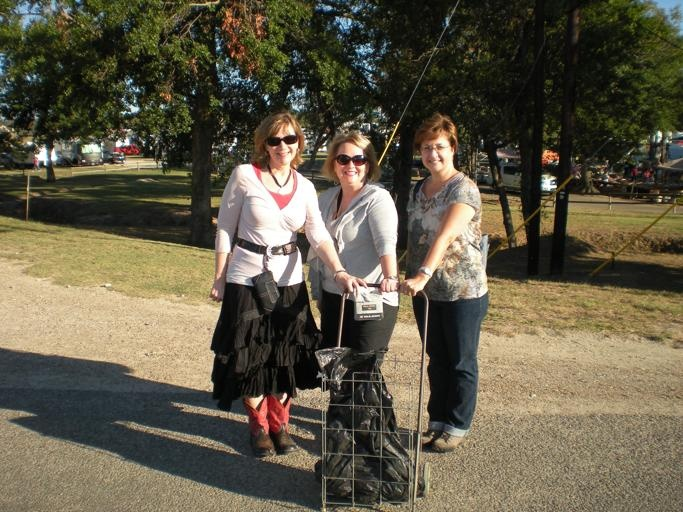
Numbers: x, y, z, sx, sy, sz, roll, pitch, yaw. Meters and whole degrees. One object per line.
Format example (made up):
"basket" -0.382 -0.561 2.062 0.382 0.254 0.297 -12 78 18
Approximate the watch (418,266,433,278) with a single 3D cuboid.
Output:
"watch" 0.653 0.141 5.086 0.093 0.062 0.091 20 -27 -13

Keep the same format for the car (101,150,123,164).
"car" -22.675 -9.795 65.214 1.663 0.781 0.965 -3 7 -16

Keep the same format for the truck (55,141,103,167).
"truck" -23.805 -8.968 59.360 2.939 1.805 5.848 5 4 15

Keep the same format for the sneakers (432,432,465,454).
"sneakers" 0.896 1.584 5.590 0.287 0.123 0.132 4 -4 -25

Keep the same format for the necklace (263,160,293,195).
"necklace" -0.546 -0.650 5.491 0.189 0.276 0.065 1 -7 -9

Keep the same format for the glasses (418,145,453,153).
"glasses" 0.792 -0.905 5.515 0.229 0.065 0.085 5 4 6
